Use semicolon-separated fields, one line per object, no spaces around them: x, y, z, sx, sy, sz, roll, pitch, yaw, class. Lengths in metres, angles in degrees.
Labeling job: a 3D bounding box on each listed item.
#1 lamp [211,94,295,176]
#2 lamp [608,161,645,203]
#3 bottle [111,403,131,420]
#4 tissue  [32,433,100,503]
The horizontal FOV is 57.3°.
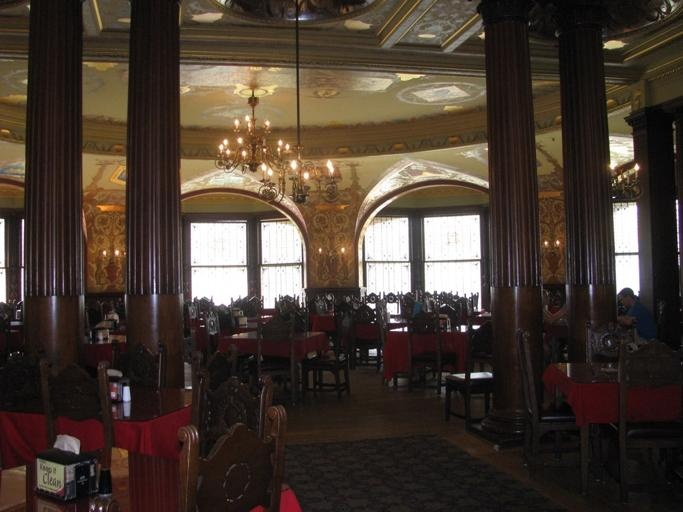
-1.315;-1.863;9.471;1.124;1.240;1.083;-1;3;-8;lamp
3.967;-1.028;8.723;0.336;0.550;4.392;0;6;24;lamp
-1.526;1.090;4.361;0.094;0.162;0.091;1;-7;0;bottle
-1.372;1.020;3.161;0.322;0.303;0.293;-4;-6;40;tissue 
